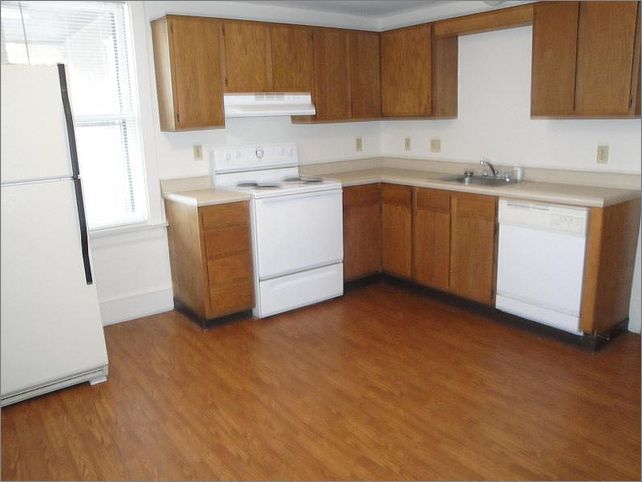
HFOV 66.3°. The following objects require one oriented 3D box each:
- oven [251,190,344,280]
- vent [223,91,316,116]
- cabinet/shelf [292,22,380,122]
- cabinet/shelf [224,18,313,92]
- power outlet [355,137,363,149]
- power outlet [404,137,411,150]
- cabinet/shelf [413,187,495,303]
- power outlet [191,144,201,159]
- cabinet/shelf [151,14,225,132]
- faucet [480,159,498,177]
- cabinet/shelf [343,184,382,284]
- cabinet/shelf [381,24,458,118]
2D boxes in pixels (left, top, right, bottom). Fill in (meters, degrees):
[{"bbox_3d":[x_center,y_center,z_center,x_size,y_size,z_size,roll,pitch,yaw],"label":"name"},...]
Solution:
[{"bbox_3d":[-0.299,-0.131,4.528,0.919,0.920,0.627,-10,16,-34],"label":"oven"},{"bbox_3d":[-0.431,-1.210,4.348,0.886,0.232,0.141,-14,22,-32],"label":"vent"},{"bbox_3d":[0.193,-1.630,4.870,0.849,0.845,0.315,-6,8,-30],"label":"cabinet/shelf"},{"bbox_3d":[-0.406,-1.637,4.506,0.840,0.718,0.487,2,25,4],"label":"cabinet/shelf"},{"bbox_3d":[0.412,-1.068,5.288,0.107,0.153,0.017,-8,20,-29],"label":"power outlet"},{"bbox_3d":[0.916,-1.031,5.182,0.020,0.130,0.095,-13,21,-31],"label":"power outlet"},{"bbox_3d":[1.159,0.007,4.194,0.522,1.062,0.821,-7,11,-38],"label":"cabinet/shelf"},{"bbox_3d":[-1.118,-0.809,4.401,0.117,0.165,0.015,-7,18,-31],"label":"power outlet"},{"bbox_3d":[-1.095,-1.403,4.138,0.307,0.892,0.499,17,24,42],"label":"cabinet/shelf"},{"bbox_3d":[1.528,-0.681,4.453,0.157,0.171,0.226,4,19,18],"label":"faucet"},{"bbox_3d":[0.396,-0.100,4.720,0.505,0.880,0.133,-13,21,-31],"label":"cabinet/shelf"},{"bbox_3d":[0.952,-1.606,4.607,0.486,0.983,0.763,-9,14,-37],"label":"cabinet/shelf"}]
